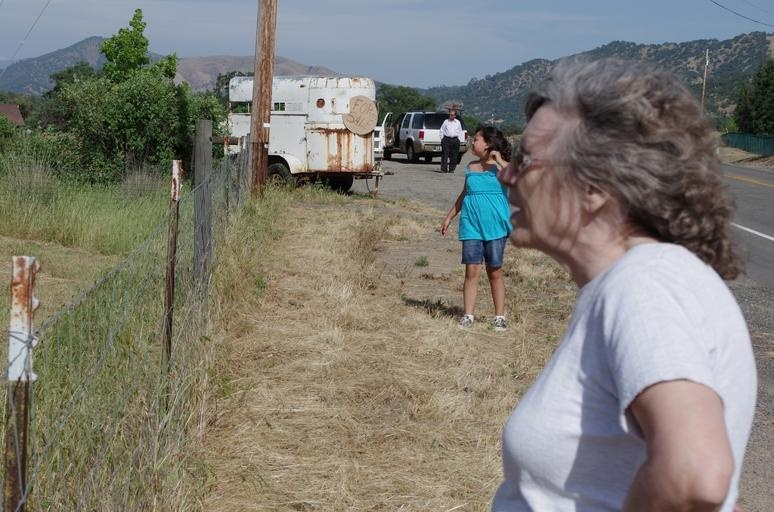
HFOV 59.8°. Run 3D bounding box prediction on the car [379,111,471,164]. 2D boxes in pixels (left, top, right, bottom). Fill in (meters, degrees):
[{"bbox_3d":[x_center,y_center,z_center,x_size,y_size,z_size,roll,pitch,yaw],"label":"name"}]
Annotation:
[{"bbox_3d":[1.195,-4.887,27.775,2.380,1.525,3.695,-3,17,-16],"label":"car"}]
